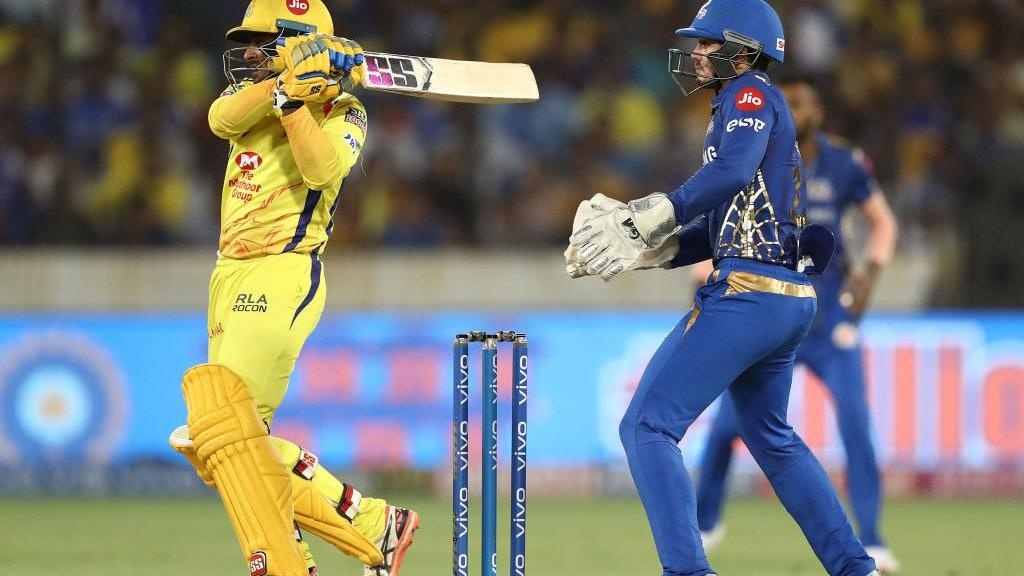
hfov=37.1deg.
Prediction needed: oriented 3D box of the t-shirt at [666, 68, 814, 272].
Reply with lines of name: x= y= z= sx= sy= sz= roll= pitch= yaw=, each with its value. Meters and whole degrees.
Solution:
t-shirt: x=1.359 y=-0.750 z=10.469 sx=1.231 sy=1.393 sz=1.236 roll=2 pitch=-16 yaw=-1
